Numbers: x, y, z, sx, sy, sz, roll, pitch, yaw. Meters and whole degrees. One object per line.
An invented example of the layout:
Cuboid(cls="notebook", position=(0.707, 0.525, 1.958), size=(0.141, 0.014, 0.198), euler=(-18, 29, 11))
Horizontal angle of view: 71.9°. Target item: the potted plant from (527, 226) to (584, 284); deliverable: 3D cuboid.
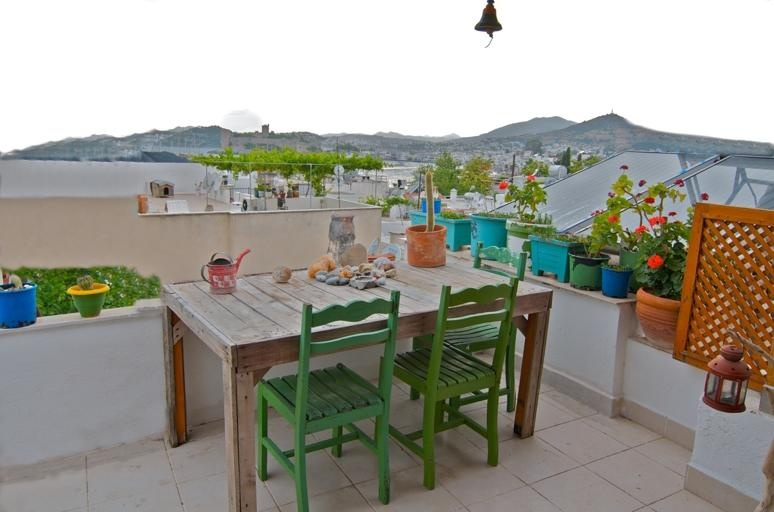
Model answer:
Cuboid(cls="potted plant", position=(1.744, -0.022, 5.759), size=(0.501, 0.471, 0.619), euler=(-1, 5, -20))

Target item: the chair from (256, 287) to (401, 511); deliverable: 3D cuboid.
Cuboid(cls="chair", position=(-0.463, 1.101, 4.246), size=(1.058, 1.726, 0.689), euler=(-2, 12, -16))

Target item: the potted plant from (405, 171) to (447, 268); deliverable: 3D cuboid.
Cuboid(cls="potted plant", position=(0.425, -0.370, 5.295), size=(0.383, 0.923, 0.787), euler=(6, 12, 23))

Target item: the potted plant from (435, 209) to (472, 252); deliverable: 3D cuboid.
Cuboid(cls="potted plant", position=(0.831, -0.318, 6.952), size=(0.417, 0.309, 0.505), euler=(-5, 12, -27))

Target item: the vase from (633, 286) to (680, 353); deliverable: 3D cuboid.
Cuboid(cls="vase", position=(2.472, 0.596, 5.162), size=(0.478, 0.483, 0.472), euler=(5, 7, 13))

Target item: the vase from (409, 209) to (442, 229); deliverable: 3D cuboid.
Cuboid(cls="vase", position=(0.484, -0.520, 7.301), size=(0.314, 0.277, 0.380), euler=(-2, 7, -29))

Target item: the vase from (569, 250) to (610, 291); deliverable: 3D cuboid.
Cuboid(cls="vase", position=(2.022, 0.174, 5.390), size=(0.359, 0.277, 0.330), euler=(1, 4, 13))

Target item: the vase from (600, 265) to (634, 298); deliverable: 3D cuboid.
Cuboid(cls="vase", position=(2.213, 0.243, 5.275), size=(0.315, 0.274, 0.284), euler=(-3, 11, -4))

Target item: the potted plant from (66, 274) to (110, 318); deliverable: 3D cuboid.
Cuboid(cls="potted plant", position=(-2.585, 0.331, 4.632), size=(0.332, 0.326, 0.317), euler=(-17, -7, 28))

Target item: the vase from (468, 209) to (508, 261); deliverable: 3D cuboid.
Cuboid(cls="vase", position=(1.217, -0.252, 6.379), size=(0.515, 0.452, 0.602), euler=(-1, 7, 1))
